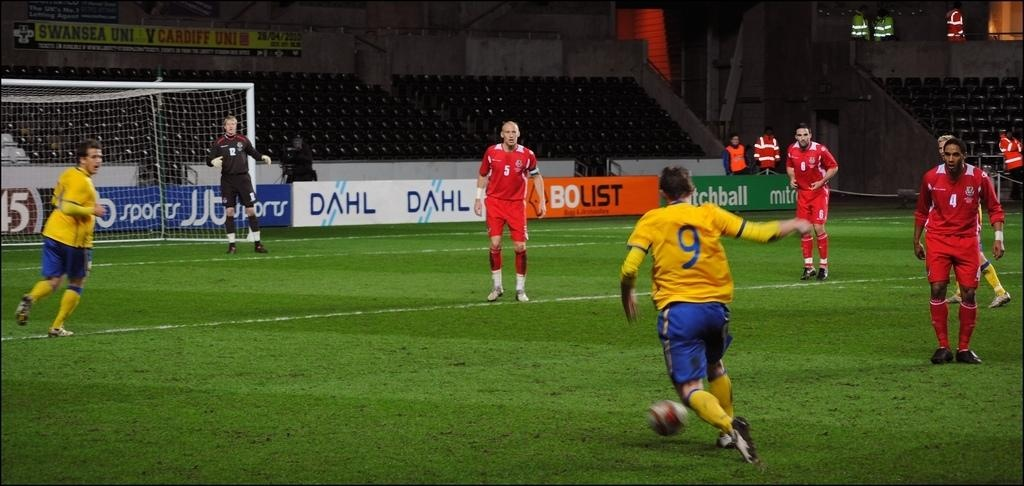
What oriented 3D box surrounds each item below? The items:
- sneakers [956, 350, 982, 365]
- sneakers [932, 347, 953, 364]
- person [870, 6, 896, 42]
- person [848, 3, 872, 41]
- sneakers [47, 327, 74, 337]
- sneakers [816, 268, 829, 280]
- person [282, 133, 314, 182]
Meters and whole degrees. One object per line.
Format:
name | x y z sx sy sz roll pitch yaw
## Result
sneakers | 8.093 1.975 17.749 0.430 0.135 0.226 0 2 29
sneakers | 7.604 1.948 17.757 0.424 0.255 0.246 -1 6 8
person | 15.033 -8.771 40.691 0.599 1.285 0.526 -2 6 7
person | 14.203 -8.855 41.010 0.789 1.369 2.243 0 5 19
sneakers | -8.368 1.627 18.634 0.467 0.159 0.164 0 8 -18
sneakers | 6.852 0.653 22.222 0.245 0.250 0.473 -1 5 14
person | -6.454 -2.489 30.315 0.806 1.281 0.525 -3 6 -6
